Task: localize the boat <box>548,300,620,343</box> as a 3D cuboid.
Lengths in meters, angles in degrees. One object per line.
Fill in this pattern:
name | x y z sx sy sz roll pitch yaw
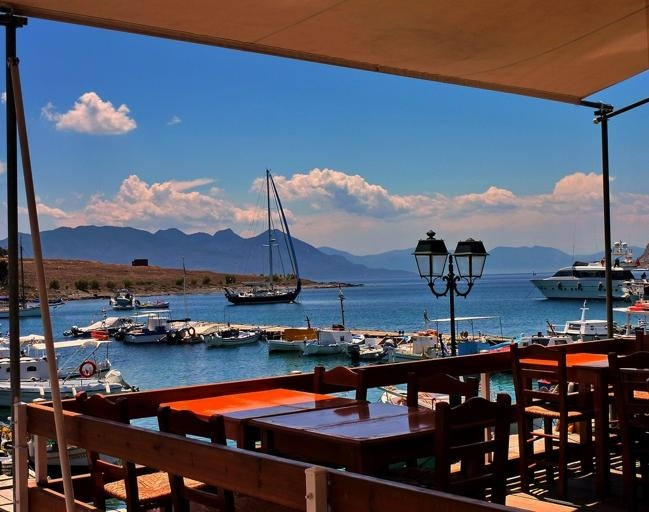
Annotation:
boat | 12.666 3.423 33.614 3.994 1.630 1.629 -11 4 -19
